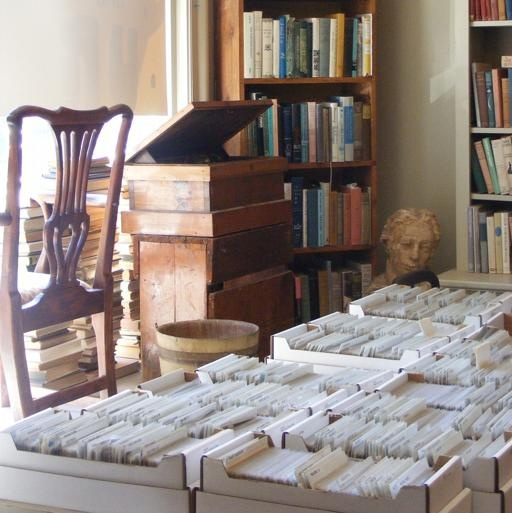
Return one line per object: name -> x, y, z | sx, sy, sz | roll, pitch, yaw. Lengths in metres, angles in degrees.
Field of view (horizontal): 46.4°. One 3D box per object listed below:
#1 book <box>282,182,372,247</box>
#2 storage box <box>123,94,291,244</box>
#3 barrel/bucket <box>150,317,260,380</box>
book -> 0.410, -0.239, 3.539 | 0.577, 0.389, 0.376 | -1, 2, -10
storage box -> -0.217, -0.428, 2.855 | 0.489, 0.548, 0.763 | 8, 14, 27
barrel/bucket -> -0.130, 0.298, 1.725 | 0.279, 0.195, 0.260 | -1, 5, 0
